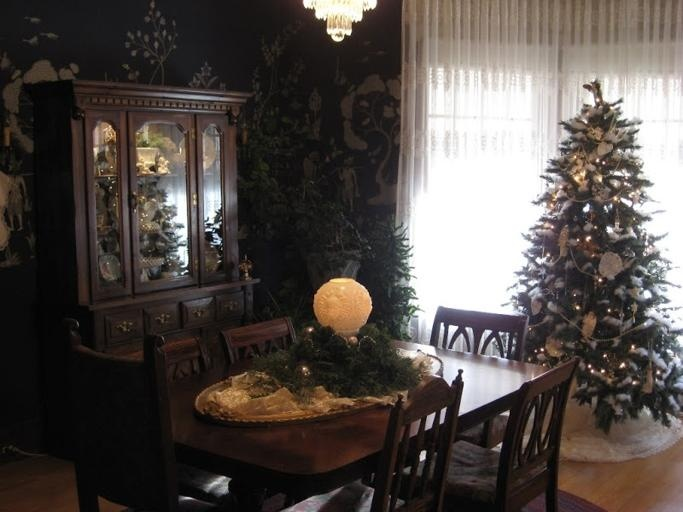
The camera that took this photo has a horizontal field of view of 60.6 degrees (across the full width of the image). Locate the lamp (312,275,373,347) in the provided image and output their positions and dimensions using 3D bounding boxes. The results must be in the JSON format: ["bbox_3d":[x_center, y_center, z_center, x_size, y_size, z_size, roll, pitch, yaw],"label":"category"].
[{"bbox_3d":[0.014,0.294,3.074,0.287,0.305,0.298,-2,0,34],"label":"lamp"}]

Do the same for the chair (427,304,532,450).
[{"bbox_3d":[0.909,0.711,3.805,0.648,0.980,0.696,-6,17,-8],"label":"chair"}]

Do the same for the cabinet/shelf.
[{"bbox_3d":[-1.327,0.096,4.163,0.622,2.558,1.357,8,11,38],"label":"cabinet/shelf"}]

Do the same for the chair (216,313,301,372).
[{"bbox_3d":[-0.464,0.463,3.189,0.257,0.478,0.309,-10,3,-32],"label":"chair"}]
